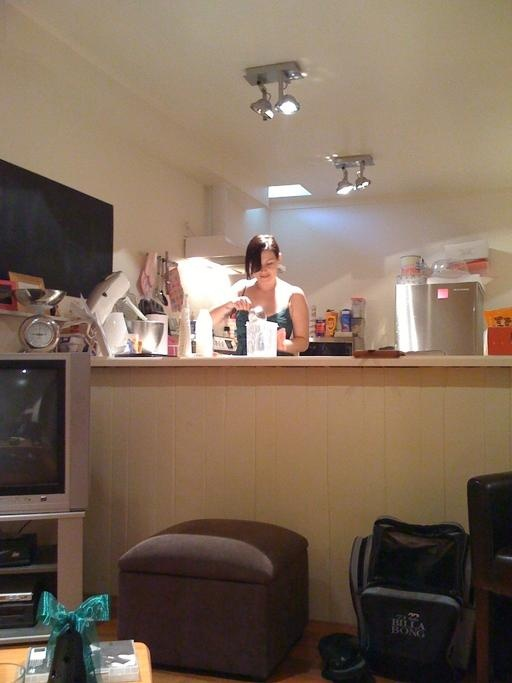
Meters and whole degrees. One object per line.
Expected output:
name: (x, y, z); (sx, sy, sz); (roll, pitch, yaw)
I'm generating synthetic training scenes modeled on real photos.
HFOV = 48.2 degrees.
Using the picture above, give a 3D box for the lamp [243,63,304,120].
lamp: (0.107, -1.416, 3.257); (0.260, 0.180, 0.139); (-2, 11, 4)

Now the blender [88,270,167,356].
blender: (-0.620, -0.124, 2.647); (0.370, 0.343, 0.142); (2, 3, -8)

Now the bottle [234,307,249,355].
bottle: (-0.070, -0.040, 2.714); (0.060, 0.200, 0.127); (-2, -1, -2)

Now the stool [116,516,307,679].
stool: (-0.128, 0.783, 1.838); (0.510, 0.379, 0.418); (-3, -2, 20)

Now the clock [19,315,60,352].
clock: (-0.822, -0.027, 2.161); (0.138, 0.146, 0.079); (-4, -7, -29)

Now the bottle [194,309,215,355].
bottle: (-0.219, -0.037, 2.369); (0.073, 0.205, 0.264); (-2, -2, -6)
